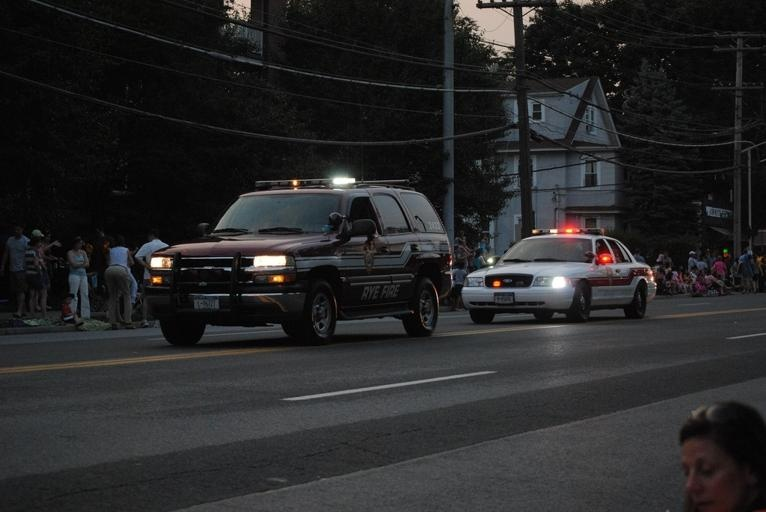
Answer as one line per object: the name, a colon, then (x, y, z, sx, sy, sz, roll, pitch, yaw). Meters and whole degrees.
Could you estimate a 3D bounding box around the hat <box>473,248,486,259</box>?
hat: (4.120, -0.191, 31.057, 0.422, 0.549, 0.530, 4, -9, 4)

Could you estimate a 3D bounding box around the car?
car: (5.190, 0.569, 21.148, 5.754, 2.686, 2.473, 1, 0, -36)

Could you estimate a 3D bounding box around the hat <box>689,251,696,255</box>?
hat: (20.826, -0.238, 48.509, 0.277, 0.120, 0.391, -2, -3, -13)

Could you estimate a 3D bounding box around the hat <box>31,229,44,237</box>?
hat: (-11.403, -0.763, 23.493, 0.331, 0.167, 0.451, 0, 2, -14)

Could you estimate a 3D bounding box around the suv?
suv: (-1.367, -0.040, 15.167, 3.310, 2.725, 5.687, -4, -7, 34)
